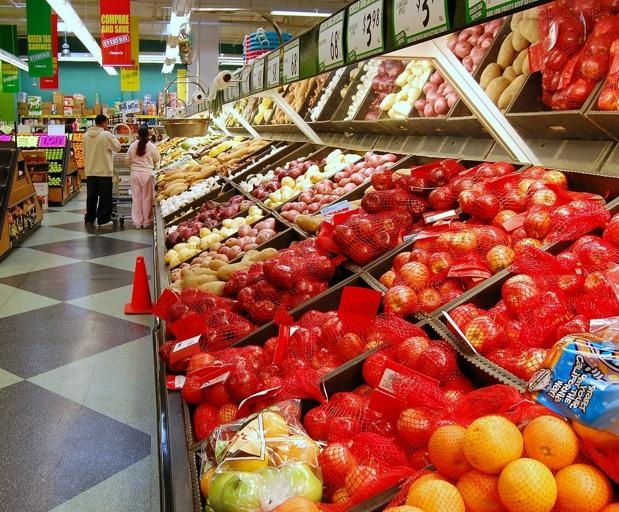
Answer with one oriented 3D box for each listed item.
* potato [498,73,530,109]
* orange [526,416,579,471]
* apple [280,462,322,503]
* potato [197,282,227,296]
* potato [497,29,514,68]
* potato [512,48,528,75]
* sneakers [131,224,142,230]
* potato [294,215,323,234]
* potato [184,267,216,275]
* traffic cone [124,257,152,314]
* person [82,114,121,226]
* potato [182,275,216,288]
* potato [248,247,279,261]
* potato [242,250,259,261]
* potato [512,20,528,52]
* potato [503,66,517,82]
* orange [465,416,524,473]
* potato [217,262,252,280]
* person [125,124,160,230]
[{"bbox_3d":[1.049,-0.857,2.173,0.118,0.182,0.146,8,15,21],"label":"potato"},{"bbox_3d":[0.404,0.313,0.690,0.063,0.073,0.061,-44,-4,19],"label":"orange"},{"bbox_3d":[-0.015,0.475,0.877,0.079,0.050,0.075,-2,15,-19],"label":"apple"},{"bbox_3d":[-0.509,0.173,2.211,0.105,0.052,0.084,-2,-2,43],"label":"potato"},{"bbox_3d":[1.092,-1.171,2.330,0.070,0.167,0.079,12,24,24],"label":"potato"},{"bbox_3d":[1.116,-1.032,2.214,0.052,0.137,0.114,6,15,13],"label":"potato"},{"bbox_3d":[-3.601,-0.597,8.654,0.089,0.093,0.226,0,-5,-9],"label":"sneakers"},{"bbox_3d":[-0.011,-0.193,2.540,0.164,0.095,0.092,19,-2,-6],"label":"potato"},{"bbox_3d":[-0.689,0.085,2.544,0.142,0.054,0.068,0,25,3],"label":"potato"},{"bbox_3d":[-1.878,0.253,4.506,0.276,0.673,0.787,-3,16,-23],"label":"traffic cone"},{"bbox_3d":[-4.327,-1.751,8.537,0.625,2.211,0.649,14,18,37],"label":"person"},{"bbox_3d":[-0.640,0.136,2.365,0.157,0.053,0.078,-7,11,-12],"label":"potato"},{"bbox_3d":[-0.267,-0.008,2.338,0.173,0.067,0.072,-16,13,25],"label":"potato"},{"bbox_3d":[-0.350,-0.002,2.440,0.074,0.036,0.069,-27,-9,-32],"label":"potato"},{"bbox_3d":[1.132,-1.179,2.267,0.081,0.144,0.088,-7,-14,32],"label":"potato"},{"bbox_3d":[1.099,-1.001,2.289,0.044,0.079,0.069,13,-36,-45],"label":"potato"},{"bbox_3d":[0.312,0.319,0.704,0.097,0.091,0.090,7,-21,8],"label":"orange"},{"bbox_3d":[-0.447,0.084,2.355,0.199,0.074,0.089,-21,35,1],"label":"potato"},{"bbox_3d":[-3.323,-1.541,8.331,0.586,2.049,0.724,-3,15,-22],"label":"person"}]
